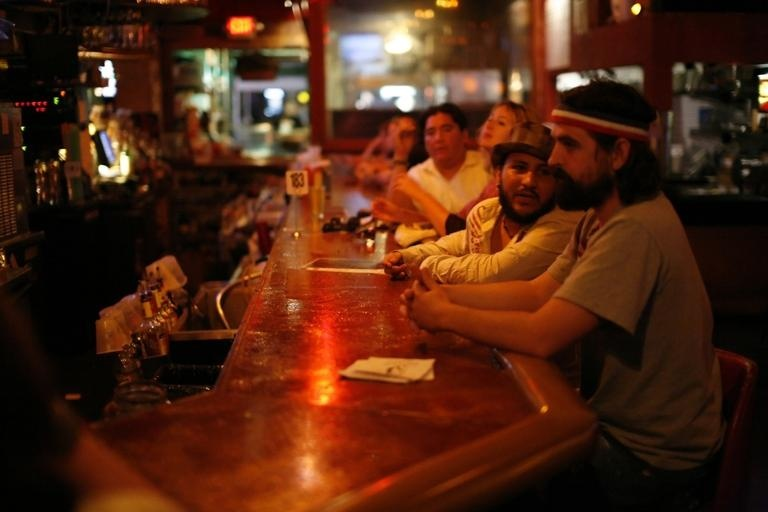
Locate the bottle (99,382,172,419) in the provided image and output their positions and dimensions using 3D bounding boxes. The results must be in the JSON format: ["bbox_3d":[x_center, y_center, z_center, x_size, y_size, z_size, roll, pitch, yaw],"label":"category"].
[{"bbox_3d":[-0.725,0.421,1.872,0.178,0.077,0.129,-11,14,-27],"label":"bottle"}]

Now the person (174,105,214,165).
[{"bbox_3d":[-2.475,-1.601,8.467,0.424,0.752,1.617,-7,13,-14],"label":"person"}]

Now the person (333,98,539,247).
[{"bbox_3d":[0.379,-0.523,3.992,0.705,0.746,0.994,4,7,44],"label":"person"}]

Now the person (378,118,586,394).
[{"bbox_3d":[0.618,-0.060,3.678,1.169,1.948,0.826,6,-5,-12],"label":"person"}]
